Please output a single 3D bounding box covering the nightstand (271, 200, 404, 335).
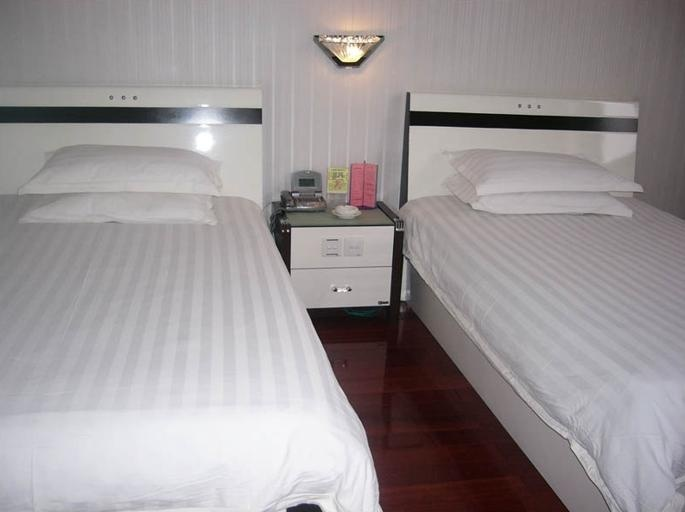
[{"bbox_3d":[-0.026,0.044,3.231,0.729,0.752,0.540,-2,21,-4],"label":"nightstand"}]

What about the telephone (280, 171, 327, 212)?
[{"bbox_3d":[-0.253,-0.416,3.107,0.288,0.262,0.162,-5,20,-26],"label":"telephone"}]

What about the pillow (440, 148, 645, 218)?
[{"bbox_3d":[1.221,-0.472,3.003,1.063,0.360,0.567,-2,18,0],"label":"pillow"}]
